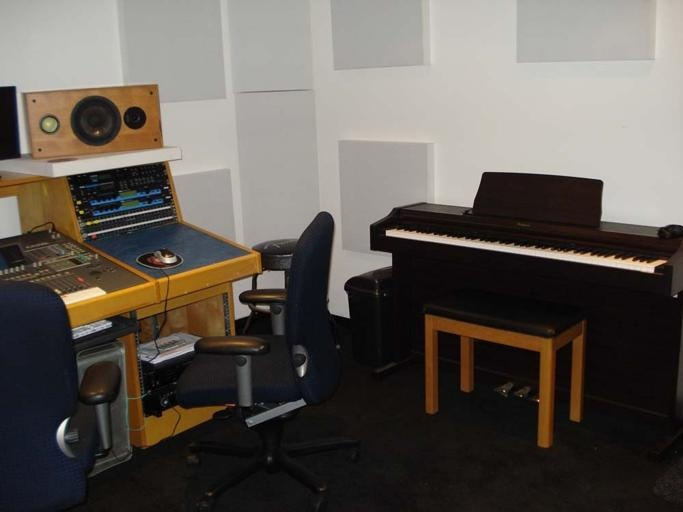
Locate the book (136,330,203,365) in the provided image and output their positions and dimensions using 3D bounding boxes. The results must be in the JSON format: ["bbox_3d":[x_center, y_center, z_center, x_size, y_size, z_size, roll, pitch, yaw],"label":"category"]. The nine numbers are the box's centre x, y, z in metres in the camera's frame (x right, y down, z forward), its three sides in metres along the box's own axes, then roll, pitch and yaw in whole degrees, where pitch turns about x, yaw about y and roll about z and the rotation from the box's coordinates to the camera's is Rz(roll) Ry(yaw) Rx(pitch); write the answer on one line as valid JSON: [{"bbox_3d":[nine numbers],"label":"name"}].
[{"bbox_3d":[-0.913,0.476,2.886,0.308,0.070,0.286,-16,18,-40],"label":"book"}]

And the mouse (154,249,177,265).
[{"bbox_3d":[-0.842,0.002,2.664,0.100,0.035,0.064,23,29,32],"label":"mouse"}]

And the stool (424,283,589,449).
[{"bbox_3d":[0.868,0.573,2.985,0.460,0.566,0.735,-8,10,-42],"label":"stool"}]
